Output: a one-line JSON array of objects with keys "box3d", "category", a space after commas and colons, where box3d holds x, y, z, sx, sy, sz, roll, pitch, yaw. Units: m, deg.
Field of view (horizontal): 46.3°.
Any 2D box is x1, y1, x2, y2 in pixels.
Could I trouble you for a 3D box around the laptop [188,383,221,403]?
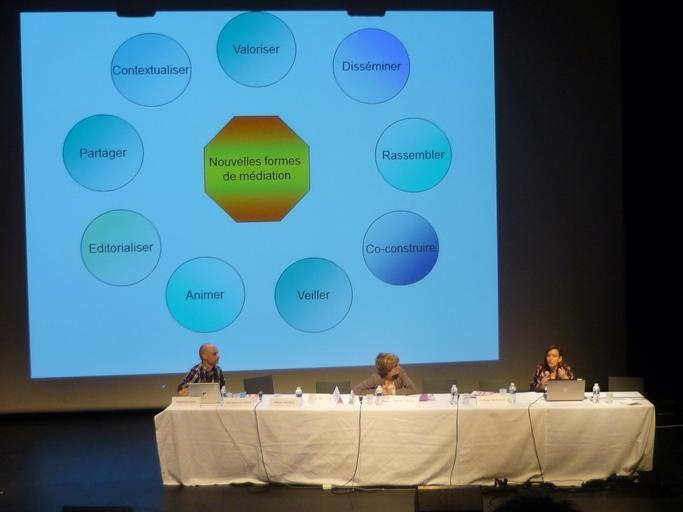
[{"box3d": [-1.383, 1.320, 8.084, 0.257, 0.207, 0.198, 1, 0, 3], "category": "laptop"}]
